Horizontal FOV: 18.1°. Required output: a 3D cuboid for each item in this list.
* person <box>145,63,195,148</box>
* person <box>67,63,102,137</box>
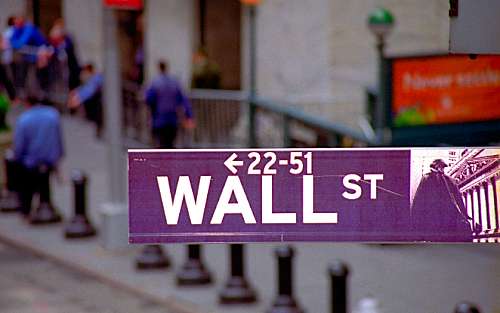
[{"bbox_3d":[-1.837,-1.194,36.018,0.655,2.078,0.953,4,11,40],"label":"person"},{"bbox_3d":[-3.991,-1.319,38.289,0.872,2.376,0.766,1,-28,-4],"label":"person"}]
